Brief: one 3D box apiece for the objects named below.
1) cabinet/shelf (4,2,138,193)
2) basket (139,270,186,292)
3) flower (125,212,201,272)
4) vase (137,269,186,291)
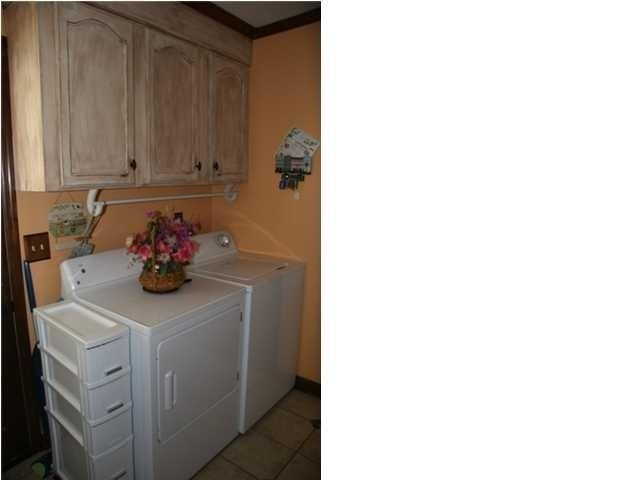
[{"bbox_3d":[-0.835,-0.475,1.710,0.192,0.596,0.427,5,15,23],"label":"cabinet/shelf"},{"bbox_3d":[-0.583,0.155,1.866,0.105,0.050,0.104,-1,7,-26],"label":"basket"},{"bbox_3d":[-0.597,-0.013,1.950,0.262,0.230,0.255,9,13,14],"label":"flower"},{"bbox_3d":[-0.595,0.142,1.895,0.105,0.050,0.105,-1,10,-16],"label":"vase"}]
